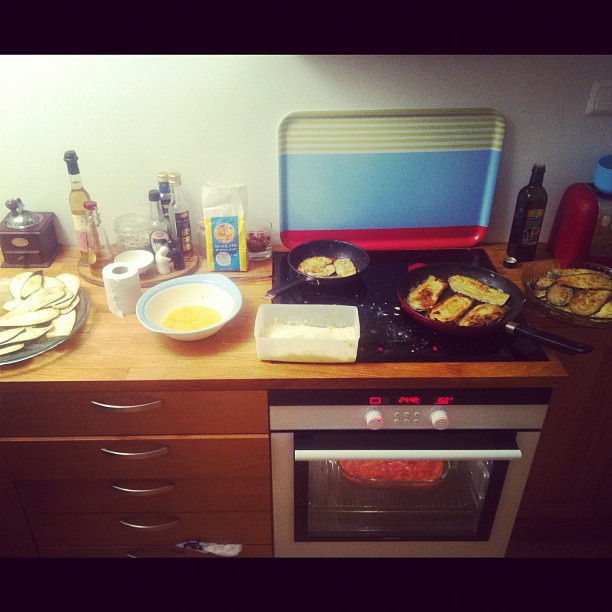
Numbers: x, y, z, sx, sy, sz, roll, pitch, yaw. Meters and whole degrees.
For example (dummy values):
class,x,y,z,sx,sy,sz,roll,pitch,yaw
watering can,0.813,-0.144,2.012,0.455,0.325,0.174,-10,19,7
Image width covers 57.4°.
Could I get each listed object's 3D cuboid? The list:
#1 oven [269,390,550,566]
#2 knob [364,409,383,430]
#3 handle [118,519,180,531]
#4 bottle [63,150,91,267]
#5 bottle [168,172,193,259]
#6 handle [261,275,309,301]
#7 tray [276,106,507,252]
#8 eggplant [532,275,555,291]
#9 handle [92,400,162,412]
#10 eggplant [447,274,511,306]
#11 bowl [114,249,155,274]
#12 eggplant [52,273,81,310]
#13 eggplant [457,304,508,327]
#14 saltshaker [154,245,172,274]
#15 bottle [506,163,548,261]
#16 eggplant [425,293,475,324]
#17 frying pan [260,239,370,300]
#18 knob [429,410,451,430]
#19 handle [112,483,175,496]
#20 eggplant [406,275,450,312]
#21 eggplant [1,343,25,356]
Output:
class,x,y,z,sx,sy,sz,roll,pitch,yaw
oven,0.211,0.422,1.554,0.647,0.455,0.372,2,8,-9
knob,0.151,0.249,1.231,0.047,0.035,0.028,3,5,5
handle,-0.407,0.569,1.442,0.184,0.016,0.032,1,22,-3
bottle,-0.603,-0.274,1.554,0.092,0.306,0.065,-9,42,-18
bottle,-0.358,-0.254,1.588,0.086,0.220,0.051,-10,40,-19
handle,-0.053,-0.045,1.465,0.024,0.018,0.176,36,35,22
tray,0.227,-0.372,1.648,0.733,0.377,0.091,-1,36,-3
eggplant,0.613,-0.063,1.443,0.052,0.007,0.039,-24,38,-23
handle,-0.399,0.223,1.234,0.159,0.026,0.025,0,38,-2
eggplant,0.438,-0.045,1.427,0.128,0.023,0.068,18,37,24
bowl,-0.473,-0.126,1.548,0.104,0.058,0.142,-8,26,-16
eggplant,-0.616,-0.040,1.433,0.096,0.024,0.097,-7,58,-4
eggplant,0.414,0.021,1.309,0.109,0.015,0.056,-16,34,-24
saltshaker,-0.394,-0.129,1.540,0.045,0.082,0.048,-6,29,-10
bottle,0.643,-0.266,1.587,0.107,0.274,0.103,0,26,0
eggplant,0.357,0.004,1.353,0.065,0.020,0.116,28,43,36
frying pan,0.021,-0.105,1.522,0.280,0.033,0.169,-29,44,-36
knob,0.302,0.258,1.253,0.050,0.047,0.033,2,28,4
handle,-0.408,0.456,1.377,0.076,0.011,0.060,1,9,-4
eggplant,0.310,-0.036,1.422,0.068,0.024,0.131,26,42,27
eggplant,-0.641,0.092,1.220,0.051,0.014,0.024,-14,29,-29
